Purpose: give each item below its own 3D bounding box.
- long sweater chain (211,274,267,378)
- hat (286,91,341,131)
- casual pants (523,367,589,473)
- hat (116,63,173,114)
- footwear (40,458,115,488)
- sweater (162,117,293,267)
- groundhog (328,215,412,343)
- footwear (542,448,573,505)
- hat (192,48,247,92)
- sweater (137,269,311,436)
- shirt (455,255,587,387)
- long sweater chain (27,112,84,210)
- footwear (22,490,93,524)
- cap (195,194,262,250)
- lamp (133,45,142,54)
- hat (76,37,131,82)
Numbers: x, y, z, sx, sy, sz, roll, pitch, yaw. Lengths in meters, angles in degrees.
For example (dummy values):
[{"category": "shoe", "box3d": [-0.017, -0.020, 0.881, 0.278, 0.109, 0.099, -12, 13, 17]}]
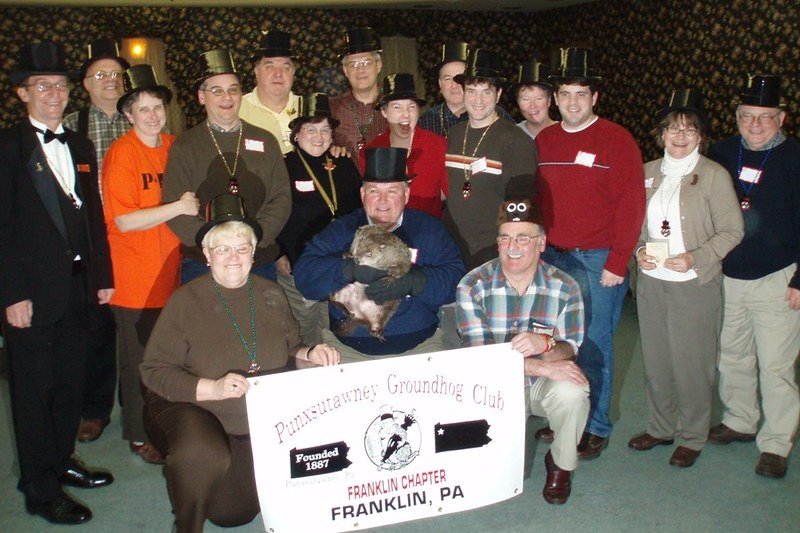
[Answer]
[{"category": "long sweater chain", "box3d": [-1.242, 0.489, 5.334, 0.286, 0.830, 0.088, -16, -8, -20]}, {"category": "hat", "box3d": [-0.821, -1.490, 6.379, 0.438, 0.218, 0.420, -10, 10, -39]}, {"category": "casual pants", "box3d": [1.380, 1.298, 5.601, 0.517, 0.763, 0.351, -2, 5, 37]}, {"category": "hat", "box3d": [-2.347, -1.558, 5.980, 0.478, 0.237, 0.473, -27, 6, -41]}, {"category": "footwear", "box3d": [-2.720, 1.816, 5.763, 0.617, 0.210, 0.180, 5, 33, -9]}, {"category": "sweater", "box3d": [-1.512, -0.627, 5.822, 1.429, 1.311, 0.808, -5, 16, -28]}, {"category": "groundhog", "box3d": [-0.225, 0.124, 5.499, 0.768, 0.874, 0.444, 7, 6, 9]}, {"category": "footwear", "box3d": [1.342, 1.770, 5.588, 0.220, 0.439, 0.190, -1, -7, 8]}, {"category": "hat", "box3d": [-1.628, -1.780, 6.001, 0.388, 0.184, 0.388, -21, 11, -36]}, {"category": "sweater", "box3d": [-1.355, 0.701, 5.200, 1.510, 1.198, 0.819, -6, 12, -24]}, {"category": "shirt", "box3d": [0.998, 0.482, 5.530, 1.186, 0.990, 0.616, 2, 15, 9]}, {"category": "long sweater chain", "box3d": [-2.837, -0.890, 5.575, 0.415, 0.706, 0.220, -22, -2, -41]}, {"category": "footwear", "box3d": [-2.751, 1.990, 5.508, 0.606, 0.217, 0.220, 7, 10, -1]}, {"category": "cap", "box3d": [-1.388, -0.408, 5.338, 0.526, 0.242, 0.476, -1, -15, -12]}, {"category": "lamp", "box3d": [-5.080, -4.265, 13.000, 0.149, 0.143, 0.056, -6, 10, -1]}, {"category": "hat", "box3d": [-3.148, -2.175, 7.001, 0.560, 0.254, 0.534, -2, 8, 32]}]
